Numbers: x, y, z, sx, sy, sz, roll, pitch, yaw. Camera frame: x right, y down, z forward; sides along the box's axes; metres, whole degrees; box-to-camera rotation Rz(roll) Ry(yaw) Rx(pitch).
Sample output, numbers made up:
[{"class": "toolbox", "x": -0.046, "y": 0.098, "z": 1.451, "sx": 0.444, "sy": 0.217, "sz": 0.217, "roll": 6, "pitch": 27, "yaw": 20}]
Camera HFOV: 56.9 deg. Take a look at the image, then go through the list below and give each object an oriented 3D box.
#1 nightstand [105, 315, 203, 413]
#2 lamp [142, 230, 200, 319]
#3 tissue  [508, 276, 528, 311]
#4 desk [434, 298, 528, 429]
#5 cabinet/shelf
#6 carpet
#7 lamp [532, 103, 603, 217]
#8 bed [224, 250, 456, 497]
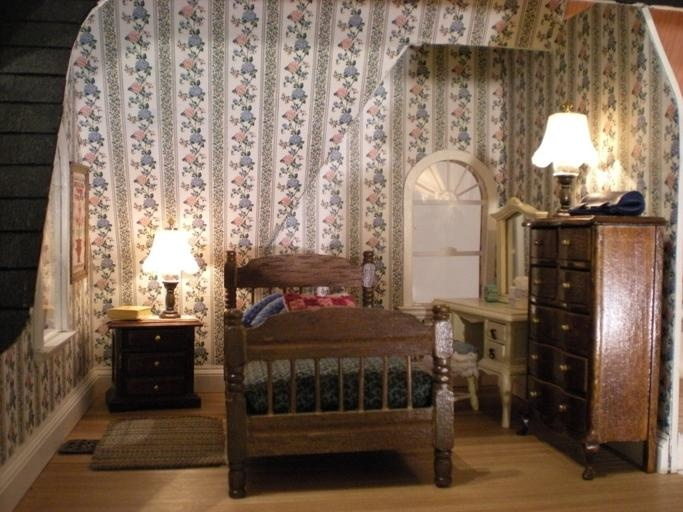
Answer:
[{"class": "nightstand", "x": -1.603, "y": 0.911, "z": 5.423, "sx": 0.757, "sy": 0.733, "sz": 0.623, "roll": 1, "pitch": 1, "yaw": -13}, {"class": "lamp", "x": -1.453, "y": 0.136, "z": 5.402, "sx": 0.442, "sy": 0.766, "sz": 0.449, "roll": -1, "pitch": 7, "yaw": -11}, {"class": "tissue ", "x": 1.417, "y": 0.300, "z": 5.041, "sx": 0.202, "sy": 0.226, "sz": 0.218, "roll": 1, "pitch": 5, "yaw": -8}, {"class": "desk", "x": 1.073, "y": 0.817, "z": 4.798, "sx": 0.347, "sy": 0.622, "sz": 0.941, "roll": -1, "pitch": 3, "yaw": -14}, {"class": "cabinet/shelf", "x": 1.627, "y": 0.554, "z": 4.118, "sx": 0.859, "sy": 1.646, "sz": 0.540, "roll": 4, "pitch": 8, "yaw": 28}, {"class": "carpet", "x": -1.264, "y": 1.314, "z": 4.515, "sx": 0.894, "sy": 0.048, "sz": 0.859, "roll": -1, "pitch": 7, "yaw": -8}, {"class": "lamp", "x": 1.581, "y": -0.663, "z": 4.474, "sx": 0.432, "sy": 0.708, "sz": 0.186, "roll": 3, "pitch": 8, "yaw": 20}, {"class": "bed", "x": -0.198, "y": 0.715, "z": 4.895, "sx": 1.596, "sy": 1.448, "sz": 2.451, "roll": 0, "pitch": 2, "yaw": -15}]
